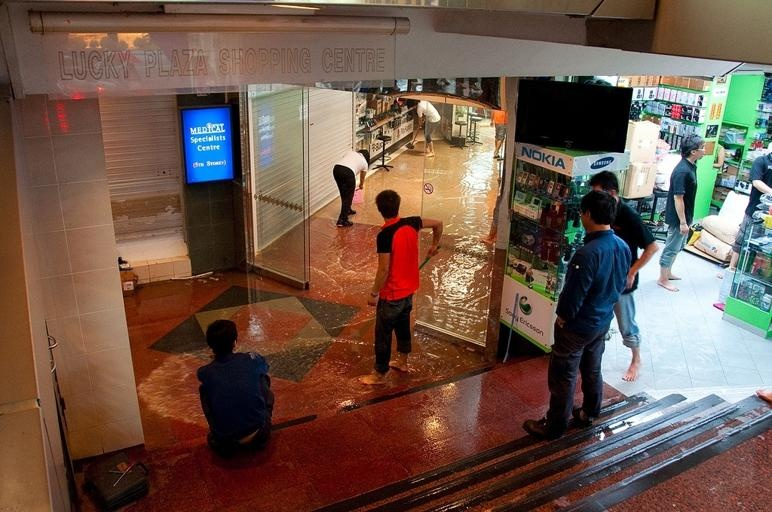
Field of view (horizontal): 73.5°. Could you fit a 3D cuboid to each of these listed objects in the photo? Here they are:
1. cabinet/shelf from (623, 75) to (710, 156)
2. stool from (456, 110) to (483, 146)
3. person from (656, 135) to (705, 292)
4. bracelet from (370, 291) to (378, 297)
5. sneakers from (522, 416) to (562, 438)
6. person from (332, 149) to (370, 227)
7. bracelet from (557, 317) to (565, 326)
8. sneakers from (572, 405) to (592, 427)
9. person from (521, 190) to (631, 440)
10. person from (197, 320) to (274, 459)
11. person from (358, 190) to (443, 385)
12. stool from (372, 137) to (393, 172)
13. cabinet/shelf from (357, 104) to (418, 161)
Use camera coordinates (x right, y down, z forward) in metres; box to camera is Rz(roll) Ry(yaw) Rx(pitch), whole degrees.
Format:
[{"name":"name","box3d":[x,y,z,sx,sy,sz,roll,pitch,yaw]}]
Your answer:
[{"name":"cabinet/shelf","box3d":[5.119,-2.654,9.689,0.904,1.330,1.451,-8,21,-20]},{"name":"stool","box3d":[0.892,-1.427,5.610,0.294,0.340,0.351,-8,52,-7]},{"name":"person","box3d":[4.165,-0.604,7.370,0.357,2.134,0.572,11,22,27]},{"name":"bracelet","box3d":[-0.134,0.417,5.637,0.092,0.054,0.082,11,-18,-36]},{"name":"sneakers","box3d":[1.441,1.612,4.883,0.371,0.150,0.142,15,42,18]},{"name":"person","box3d":[-0.651,-1.308,9.743,0.511,1.308,1.133,4,20,10]},{"name":"bracelet","box3d":[1.569,0.594,4.678,0.075,0.067,0.070,15,-20,-10]},{"name":"sneakers","box3d":[1.871,1.563,5.029,0.105,0.111,0.274,-8,31,-7]},{"name":"person","box3d":[1.743,0.567,4.697,0.500,2.251,0.856,17,26,39]},{"name":"person","box3d":[-1.327,1.156,4.571,0.614,1.245,0.348,-7,21,-18]},{"name":"person","box3d":[0.048,0.357,5.551,0.701,2.111,0.341,-10,22,-26]},{"name":"stool","box3d":[-0.099,-2.539,12.533,0.491,0.759,0.989,0,20,-1]},{"name":"cabinet/shelf","box3d":[-0.027,-2.991,12.574,0.376,0.963,2.204,-2,17,26]}]
